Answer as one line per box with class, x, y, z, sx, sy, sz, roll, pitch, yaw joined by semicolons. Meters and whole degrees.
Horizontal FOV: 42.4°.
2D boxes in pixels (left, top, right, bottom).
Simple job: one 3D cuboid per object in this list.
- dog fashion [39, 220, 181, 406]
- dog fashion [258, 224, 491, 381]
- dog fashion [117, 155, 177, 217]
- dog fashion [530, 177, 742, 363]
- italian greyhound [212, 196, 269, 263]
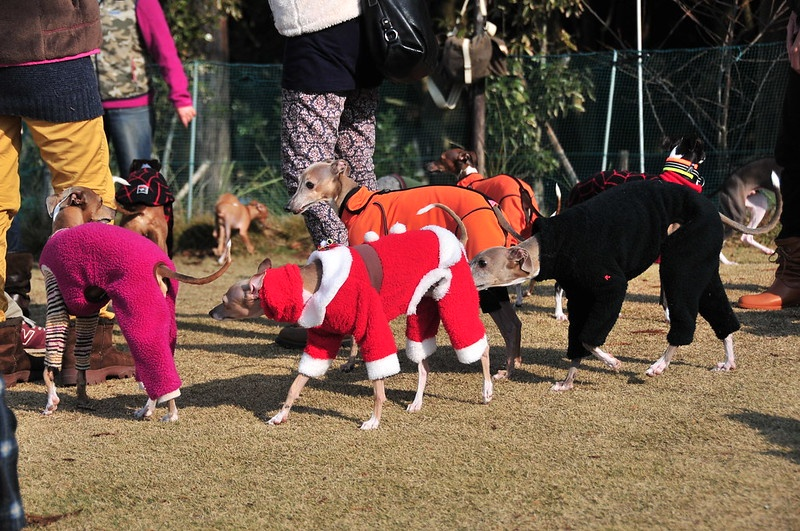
dog fashion;-2.019;0.323;7.363;0.930;1.224;0.280;3;7;12
dog fashion;-0.233;0.295;7.501;1.730;1.069;0.632;-8;12;-20
dog fashion;-2.151;-0.578;8.541;0.536;0.464;0.934;5;15;-15
dog fashion;1.696;0.038;7.844;1.717;1.459;0.677;-4;3;4
italian greyhound;-1.854;-0.434;11.887;0.247;0.715;0.870;15;7;34
